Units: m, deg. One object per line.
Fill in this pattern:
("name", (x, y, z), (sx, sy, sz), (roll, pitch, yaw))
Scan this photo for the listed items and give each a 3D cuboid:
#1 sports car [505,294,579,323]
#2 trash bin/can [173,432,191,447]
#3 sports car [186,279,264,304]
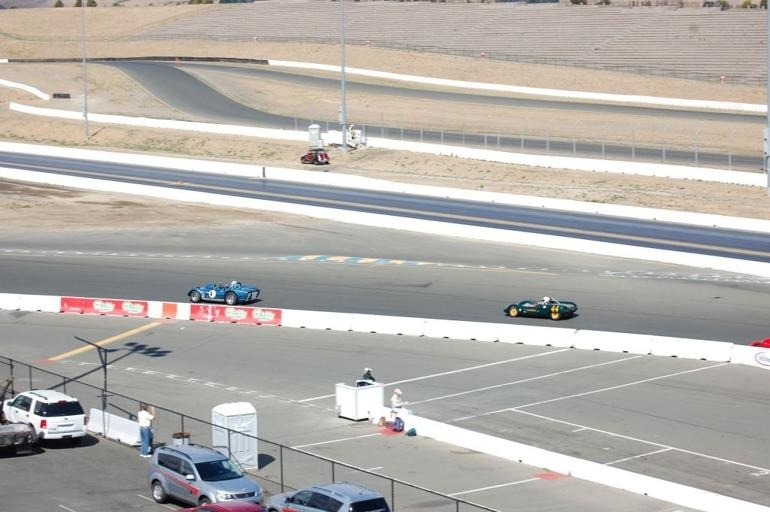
("sports car", (13.439, 4.339, 147.568), (4.700, 1.150, 2.458), (2, 3, 17))
("trash bin/can", (-15.499, 14.015, 133.036), (1.462, 0.675, 1.238), (3, 12, 5))
("sports car", (-13.858, 3.012, 150.337), (5.201, 1.200, 2.446), (2, 5, 14))
